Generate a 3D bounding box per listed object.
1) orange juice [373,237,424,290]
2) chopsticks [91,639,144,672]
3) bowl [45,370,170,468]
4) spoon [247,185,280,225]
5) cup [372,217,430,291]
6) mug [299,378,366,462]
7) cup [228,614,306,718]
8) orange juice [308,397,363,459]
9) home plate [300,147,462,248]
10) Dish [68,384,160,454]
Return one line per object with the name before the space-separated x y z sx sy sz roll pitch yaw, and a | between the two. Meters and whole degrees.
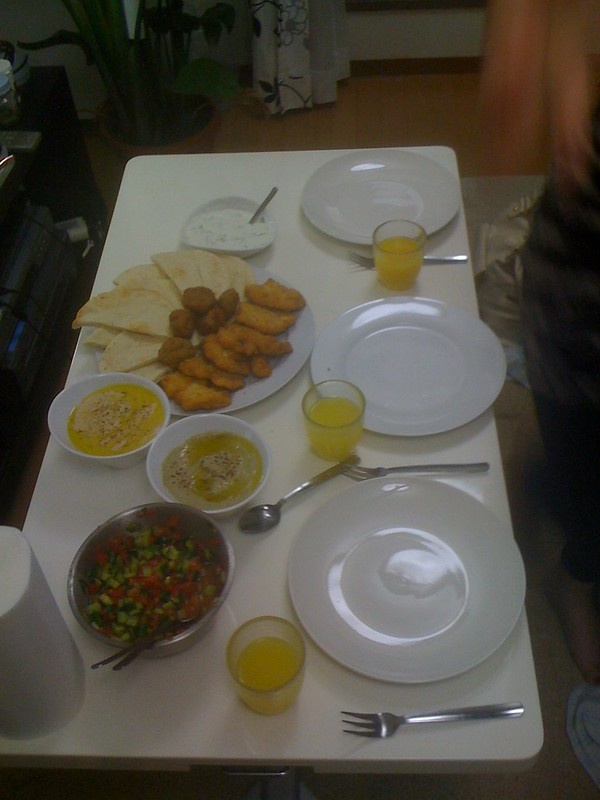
orange juice | 0.192 -0.258 1.233 0.088 0.087 0.106 -2 56 2
chopsticks | -0.194 0.288 0.693 0.037 0.124 0.007 54 46 -5
bowl | -0.301 0.026 0.992 0.170 0.185 0.078 6 31 -49
spoon | -0.081 -0.434 1.408 0.020 0.018 0.126 31 84 9
cup | 0.185 -0.282 1.226 0.112 0.115 0.142 -3 50 2
mug | 0.048 0.028 0.966 0.098 0.102 0.124 -1 52 2
cup | -0.039 0.309 0.707 0.079 0.074 0.097 1 29 -3
orange juice | 0.049 0.041 0.977 0.097 0.091 0.116 -2 23 1
home plate | 0.183 -0.435 1.467 0.270 0.043 0.296 3 55 2
Dish | -0.305 0.030 0.991 0.134 0.146 0.034 -6 30 -31
